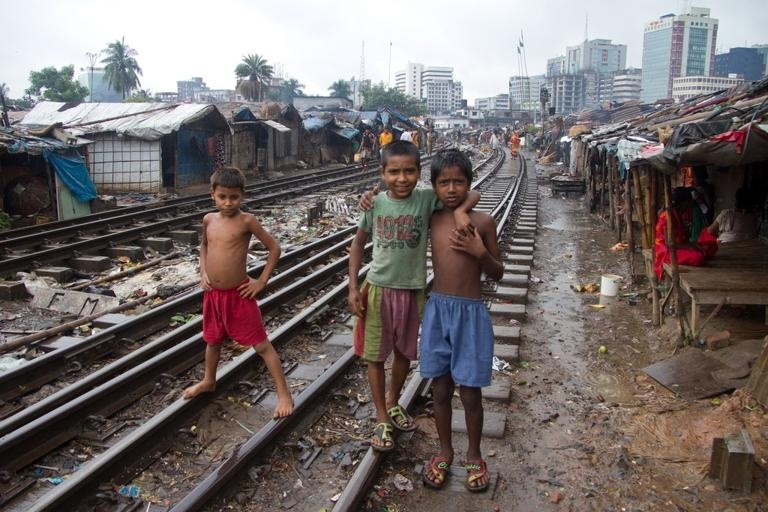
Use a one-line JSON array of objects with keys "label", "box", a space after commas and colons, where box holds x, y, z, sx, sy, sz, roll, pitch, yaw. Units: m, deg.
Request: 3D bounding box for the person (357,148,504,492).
[{"label": "person", "box": [0.617, 0.721, 3.810, 0.693, 2.322, 0.769, -2, 16, 13]}]

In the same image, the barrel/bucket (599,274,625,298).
[{"label": "barrel/bucket", "box": [3.968, 0.516, 8.289, 0.316, 0.349, 0.356, 2, 17, 25]}]

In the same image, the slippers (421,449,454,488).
[{"label": "slippers", "box": [0.447, 1.757, 3.900, 0.154, 0.124, 0.312, 1, 5, 17]}]

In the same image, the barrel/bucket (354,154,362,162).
[{"label": "barrel/bucket", "box": [-1.881, -6.811, 32.999, 0.519, 0.720, 0.718, 2, 5, 8]}]

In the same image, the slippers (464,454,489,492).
[{"label": "slippers", "box": [0.744, 1.773, 3.759, 0.120, 0.133, 0.311, -2, -8, 5]}]
